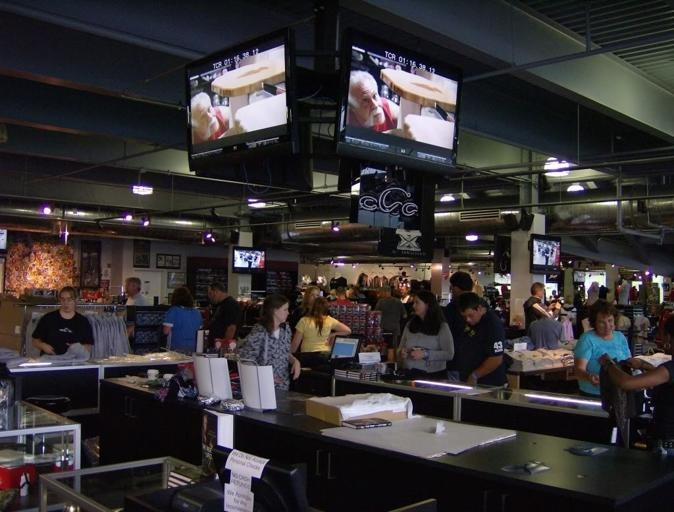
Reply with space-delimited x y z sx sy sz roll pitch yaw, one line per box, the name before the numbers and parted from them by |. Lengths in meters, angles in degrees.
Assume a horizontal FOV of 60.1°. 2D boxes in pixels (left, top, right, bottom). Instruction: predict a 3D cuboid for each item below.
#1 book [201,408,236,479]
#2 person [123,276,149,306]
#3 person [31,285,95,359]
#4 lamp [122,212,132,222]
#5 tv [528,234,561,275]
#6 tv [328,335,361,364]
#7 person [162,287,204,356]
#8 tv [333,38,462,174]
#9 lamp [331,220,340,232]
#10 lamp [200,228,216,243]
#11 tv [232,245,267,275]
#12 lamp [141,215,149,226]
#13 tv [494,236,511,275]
book | -0.624 1.006 3.029 0.167 0.252 1.034 1 -1 -12
person | -3.394 0.584 9.869 0.324 0.439 1.392 1 -1 -18
person | -3.068 0.879 6.562 0.675 0.998 0.508 5 2 -23
lamp | -5.799 -1.050 16.168 0.348 0.183 0.342 1 0 -19
tv | 4.651 -0.024 13.126 0.982 0.815 0.099 1 -1 -37
tv | 0.083 0.974 6.038 0.295 0.240 0.283 4 -5 31
person | -2.082 0.853 7.869 0.488 0.824 0.418 1 -1 -12
tv | 0.421 -1.066 4.259 1.173 0.789 0.155 2 9 -33
lamp | -0.048 -0.862 17.374 0.251 0.309 0.346 1 -1 -4
lamp | -4.115 -0.624 18.643 0.468 0.424 1.154 1 -1 -12
tv | -2.822 0.141 18.345 1.002 0.674 0.101 -1 5 -29
lamp | -5.349 -0.970 16.258 0.213 0.306 0.349 1 -1 -19
tv | 3.944 -0.027 13.888 0.118 1.128 0.898 -3 -4 45
